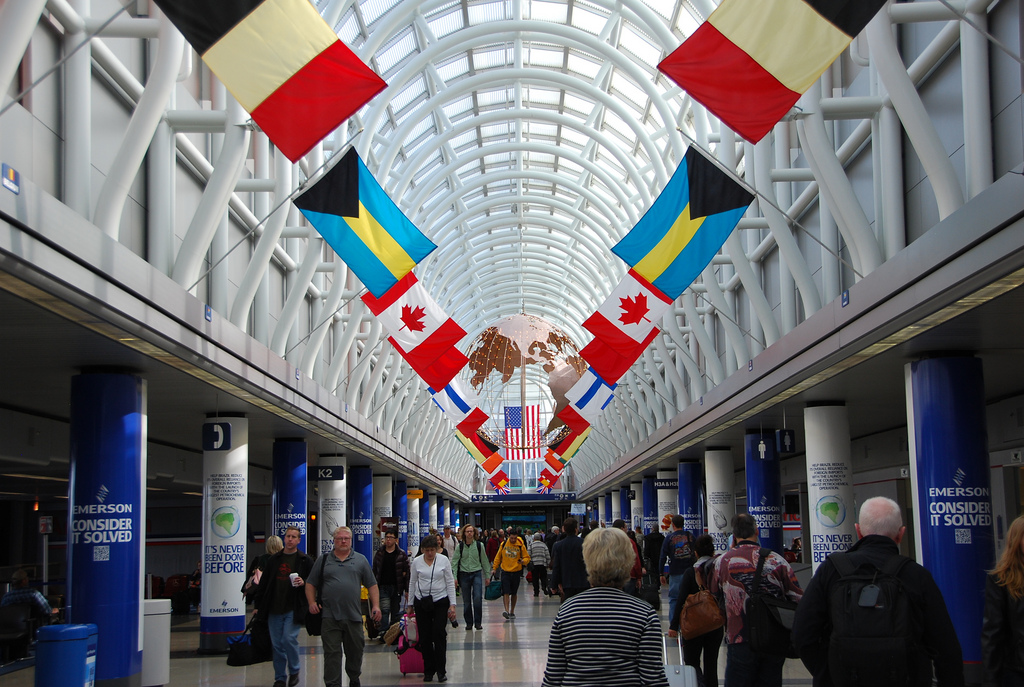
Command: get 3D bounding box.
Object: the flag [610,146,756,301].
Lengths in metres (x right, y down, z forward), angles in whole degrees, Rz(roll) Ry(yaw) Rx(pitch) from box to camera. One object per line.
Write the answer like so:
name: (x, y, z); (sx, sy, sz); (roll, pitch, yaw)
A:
flag: (3.120, -2.128, 15.187); (2.007, 0.089, 3.002); (21, -57, -29)

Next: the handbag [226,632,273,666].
handbag: (-4.256, 4.998, 12.990); (0.677, 0.805, 0.461); (3, -16, -4)
